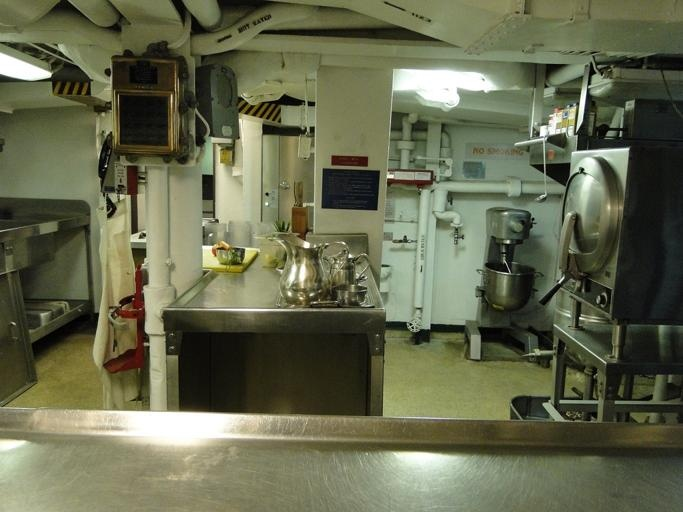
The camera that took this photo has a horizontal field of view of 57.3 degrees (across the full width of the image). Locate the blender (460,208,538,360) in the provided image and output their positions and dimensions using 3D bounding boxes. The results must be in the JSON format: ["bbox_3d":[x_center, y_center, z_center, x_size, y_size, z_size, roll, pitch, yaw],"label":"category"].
[{"bbox_3d":[1.615,0.248,6.242,0.707,1.451,0.906,2,5,12],"label":"blender"}]

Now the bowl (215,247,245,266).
[{"bbox_3d":[-0.713,-0.001,4.089,0.140,0.069,0.120,-4,6,-44],"label":"bowl"}]

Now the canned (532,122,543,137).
[{"bbox_3d":[1.460,-0.939,4.678,0.069,0.101,0.248,3,5,17],"label":"canned"}]

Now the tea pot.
[{"bbox_3d":[-0.084,0.059,3.498,0.459,0.346,0.740,2,5,3],"label":"tea pot"}]
